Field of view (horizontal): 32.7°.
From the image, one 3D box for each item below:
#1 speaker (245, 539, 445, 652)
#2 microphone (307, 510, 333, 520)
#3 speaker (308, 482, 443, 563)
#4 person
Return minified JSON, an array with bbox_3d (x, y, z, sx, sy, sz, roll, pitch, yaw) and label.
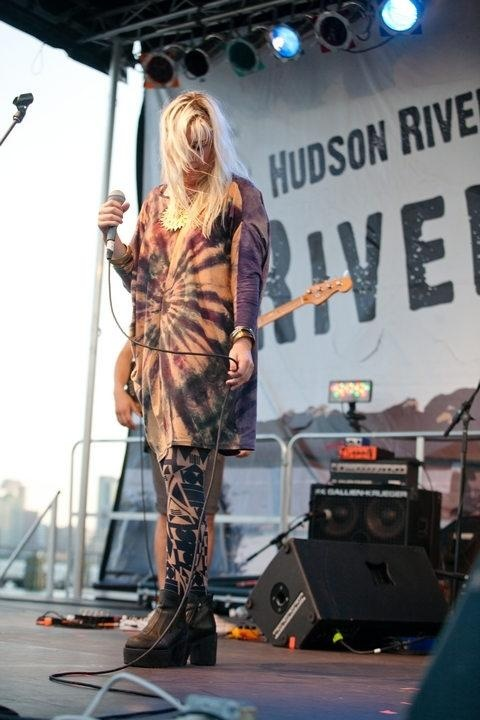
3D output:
[{"bbox_3d":[0.340,0.735,2.601,0.510,0.272,0.425,15,-22,-38],"label":"speaker"},{"bbox_3d":[0.319,0.608,3.253,0.076,0.031,0.043,-2,-7,-19],"label":"microphone"},{"bbox_3d":[0.529,0.723,3.293,0.566,0.451,0.326,-4,-13,30],"label":"speaker"},{"bbox_3d":[-0.124,0.006,1.965,0.397,1.411,0.393,0,-7,-3],"label":"person"}]
